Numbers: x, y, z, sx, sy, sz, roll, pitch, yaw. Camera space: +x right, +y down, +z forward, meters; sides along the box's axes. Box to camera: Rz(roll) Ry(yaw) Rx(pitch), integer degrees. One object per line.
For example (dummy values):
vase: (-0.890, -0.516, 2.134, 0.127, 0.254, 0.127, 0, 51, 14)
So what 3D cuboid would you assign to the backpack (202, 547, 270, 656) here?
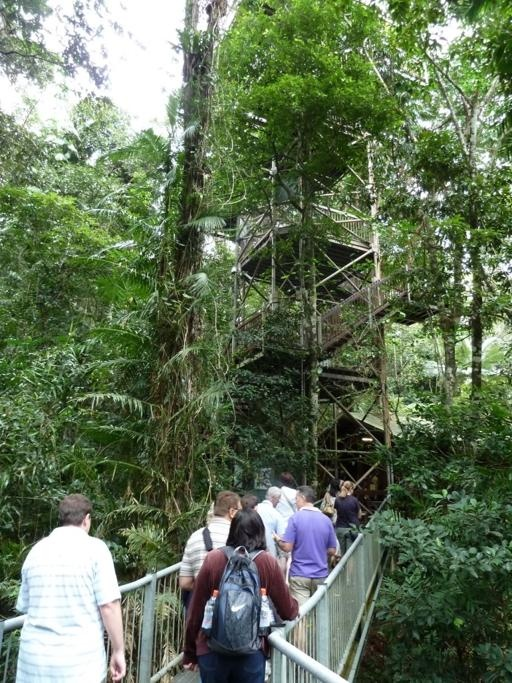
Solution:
backpack: (-0.076, 1.120, 2.346, 0.306, 0.424, 0.244, 3, -11, -3)
